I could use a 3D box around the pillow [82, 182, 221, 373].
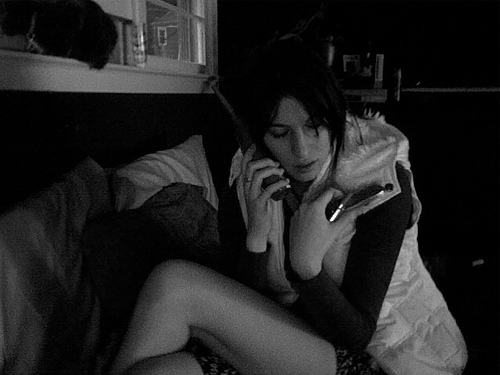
[{"bbox_3d":[-0.319,0.252,1.454,0.154,0.553,0.414,-2,6,37],"label":"pillow"}]

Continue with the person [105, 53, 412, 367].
[{"bbox_3d":[0.124,0.111,1.464,0.710,0.979,0.904,9,22,20],"label":"person"}]

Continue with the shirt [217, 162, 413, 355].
[{"bbox_3d":[0.191,0.221,1.631,0.663,0.526,0.439,12,23,25],"label":"shirt"}]

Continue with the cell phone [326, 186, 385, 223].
[{"bbox_3d":[0.345,0.048,1.551,0.195,0.098,0.100,-4,21,-14],"label":"cell phone"}]
